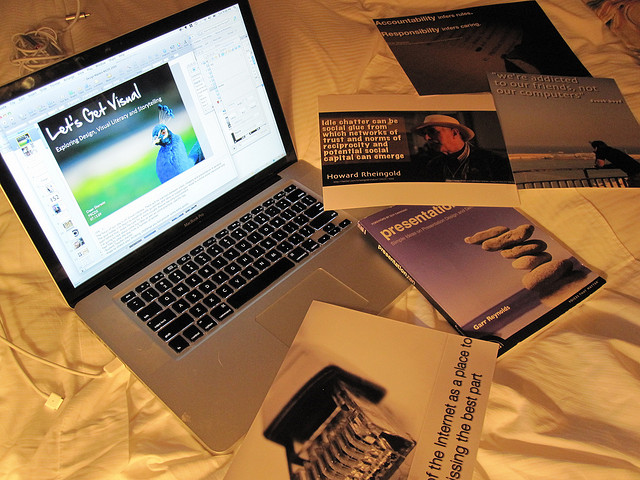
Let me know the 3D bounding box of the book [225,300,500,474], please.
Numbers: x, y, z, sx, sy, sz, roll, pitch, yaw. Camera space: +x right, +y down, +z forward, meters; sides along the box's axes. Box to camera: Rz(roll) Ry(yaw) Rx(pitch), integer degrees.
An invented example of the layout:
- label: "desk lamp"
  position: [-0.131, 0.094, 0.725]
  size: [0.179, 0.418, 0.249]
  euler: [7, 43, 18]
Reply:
- label: "book"
  position: [0.061, 0.200, 0.612]
  size: [0.275, 0.121, 0.246]
  euler: [5, 32, 22]

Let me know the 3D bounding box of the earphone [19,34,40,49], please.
- label: "earphone"
  position: [-0.604, -0.410, 1.014]
  size: [0.022, 0.022, 0.086]
  euler: [-25, 46, -30]

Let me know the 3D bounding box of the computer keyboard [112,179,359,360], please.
- label: "computer keyboard"
  position: [-0.083, 0.010, 0.813]
  size: [0.179, 0.022, 0.348]
  euler: [35, 44, 6]
